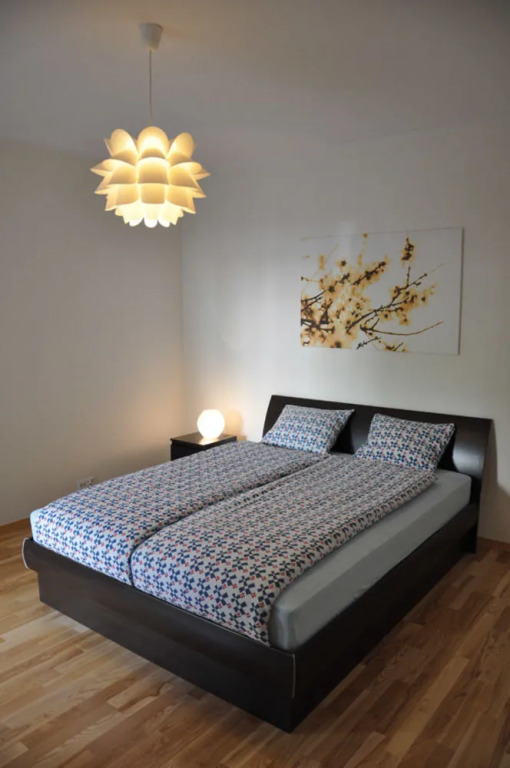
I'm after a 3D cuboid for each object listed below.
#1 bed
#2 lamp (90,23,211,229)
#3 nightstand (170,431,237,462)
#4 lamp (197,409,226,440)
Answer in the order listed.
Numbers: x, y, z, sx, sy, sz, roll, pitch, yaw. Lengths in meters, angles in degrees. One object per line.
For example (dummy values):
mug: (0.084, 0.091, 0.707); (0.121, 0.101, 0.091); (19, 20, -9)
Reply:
bed: (0.294, 0.618, 2.482); (1.328, 0.625, 1.577); (6, 10, 40)
lamp: (-0.421, -1.082, 2.326); (0.505, 0.758, 0.502); (-5, 13, -28)
nightstand: (-0.398, 0.391, 4.234); (0.229, 0.319, 0.326); (3, 6, 33)
lamp: (-0.326, 0.293, 4.324); (0.215, 0.249, 0.212); (5, 13, 9)
